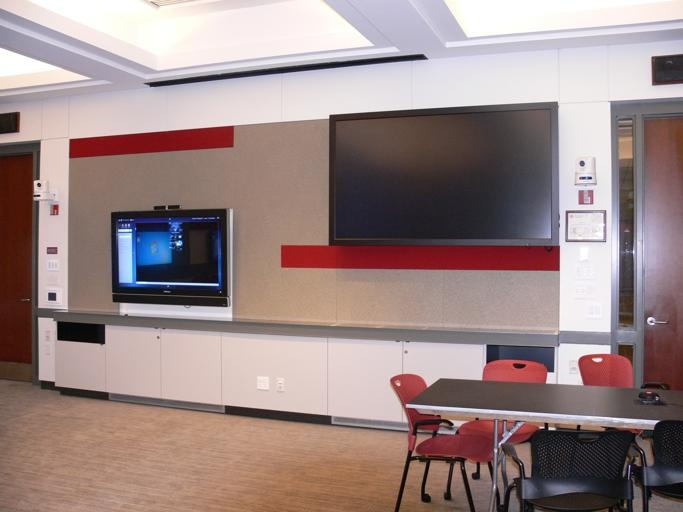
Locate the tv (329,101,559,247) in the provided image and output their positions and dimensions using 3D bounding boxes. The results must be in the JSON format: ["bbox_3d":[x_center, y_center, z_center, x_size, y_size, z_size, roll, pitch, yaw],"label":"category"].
[{"bbox_3d":[1.018,-0.843,6.143,2.449,1.460,0.075,1,7,19],"label":"tv"}]

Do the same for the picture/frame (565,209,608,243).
[{"bbox_3d":[2.583,-0.316,6.012,0.352,0.301,0.035,-1,1,9],"label":"picture/frame"}]
